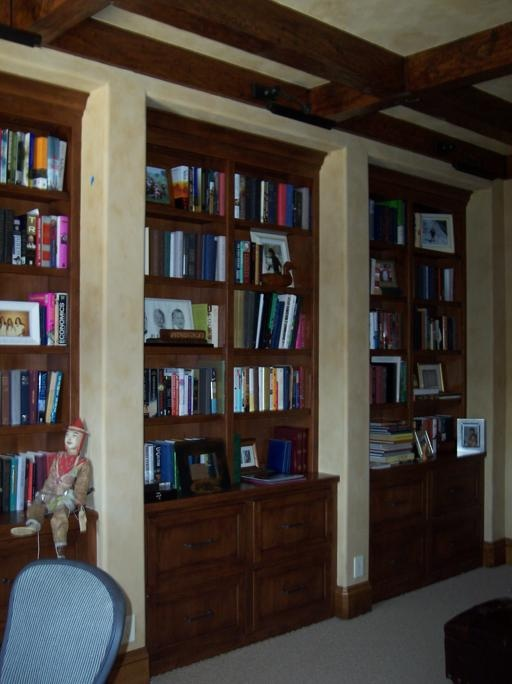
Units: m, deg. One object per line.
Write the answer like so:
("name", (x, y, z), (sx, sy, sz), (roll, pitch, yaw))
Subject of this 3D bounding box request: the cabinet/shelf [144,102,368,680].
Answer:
("cabinet/shelf", (-0.136, 0.184, 3.141), (1.350, 2.699, 0.435), (5, -5, -42))

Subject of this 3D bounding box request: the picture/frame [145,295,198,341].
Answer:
("picture/frame", (-0.442, -0.113, 2.953), (0.016, 0.171, 0.226), (-22, -17, 41))

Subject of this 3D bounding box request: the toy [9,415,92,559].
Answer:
("toy", (-0.785, 0.569, 2.294), (0.240, 0.511, 0.443), (2, -4, -10))

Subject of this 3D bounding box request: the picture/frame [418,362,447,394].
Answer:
("picture/frame", (1.327, 0.286, 4.459), (0.017, 0.182, 0.231), (-12, -8, 41))

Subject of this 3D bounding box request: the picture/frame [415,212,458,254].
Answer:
("picture/frame", (1.347, -0.824, 4.444), (0.330, 0.256, 0.044), (3, -10, -36))

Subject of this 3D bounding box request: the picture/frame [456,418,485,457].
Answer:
("picture/frame", (1.583, 0.717, 4.327), (0.249, 0.383, 0.051), (-1, -12, 12))
